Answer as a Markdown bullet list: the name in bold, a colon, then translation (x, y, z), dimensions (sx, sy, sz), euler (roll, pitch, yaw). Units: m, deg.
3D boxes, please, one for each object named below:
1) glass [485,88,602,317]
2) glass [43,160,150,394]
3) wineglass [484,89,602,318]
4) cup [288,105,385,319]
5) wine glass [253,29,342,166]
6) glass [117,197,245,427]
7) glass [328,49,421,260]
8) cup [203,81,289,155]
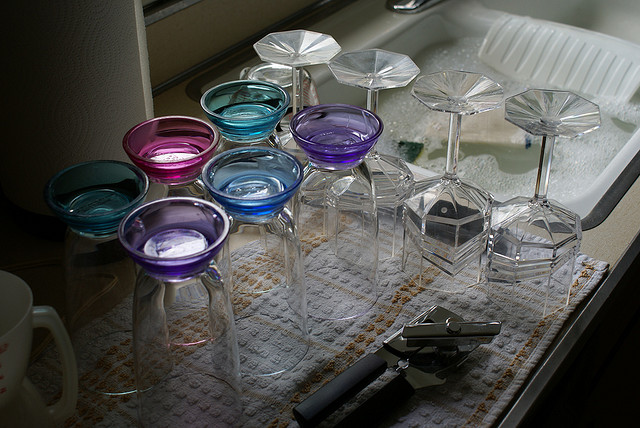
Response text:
- **glass**: translation (0.255, -0.009, 0.589), dimensions (0.095, 0.202, 0.088), euler (2, 32, 20)
- **glass**: translation (-0.212, 0.065, 0.497), dimensions (0.098, 0.235, 0.097), euler (-20, 46, -32)
- **wineglass**: translation (0.253, -0.013, 0.591), dimensions (0.091, 0.203, 0.090), euler (-12, 30, -9)
- **cup**: translation (0.020, 0.007, 0.573), dimensions (0.104, 0.215, 0.097), euler (0, 0, 0)
- **wine glass**: translation (-0.024, -0.166, 0.635), dimensions (0.069, 0.074, 0.089), euler (-24, 70, 21)
- **glass**: translation (-0.124, 0.091, 0.460), dimensions (0.107, 0.185, 0.129), euler (-8, 41, -8)
- **glass**: translation (0.069, -0.067, 0.707), dimensions (0.110, 0.111, 0.263), euler (-4, 77, 34)
- **cup**: translation (-0.068, -0.108, 0.553), dimensions (0.087, 0.054, 0.086), euler (0, 43, 0)
